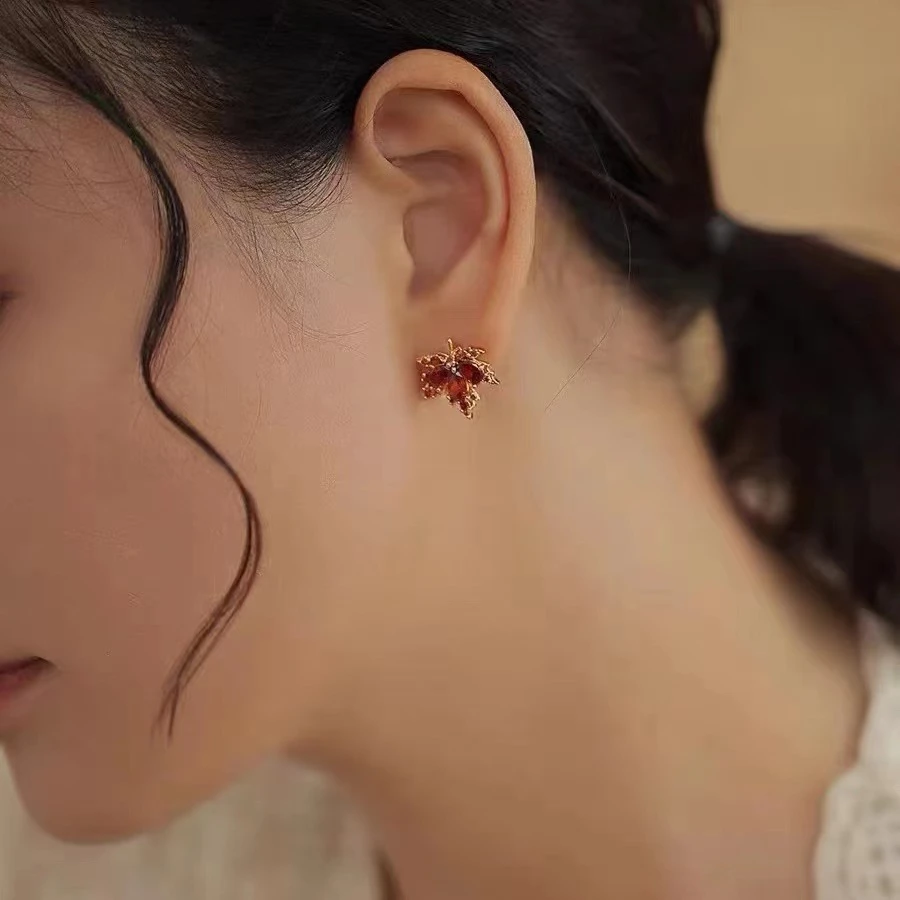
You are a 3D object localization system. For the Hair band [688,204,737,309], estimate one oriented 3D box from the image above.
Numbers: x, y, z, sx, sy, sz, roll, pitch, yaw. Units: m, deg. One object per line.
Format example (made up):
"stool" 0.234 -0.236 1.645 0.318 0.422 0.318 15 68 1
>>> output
"Hair band" 0.254 -0.183 1.329 0.028 0.071 0.070 9 36 19

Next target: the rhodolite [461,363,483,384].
"rhodolite" 0.020 -0.068 1.266 0.015 0.017 0.019 1 76 -10

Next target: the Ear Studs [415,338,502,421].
"Ear Studs" -0.006 -0.061 1.293 0.076 0.088 0.022 20 84 9
